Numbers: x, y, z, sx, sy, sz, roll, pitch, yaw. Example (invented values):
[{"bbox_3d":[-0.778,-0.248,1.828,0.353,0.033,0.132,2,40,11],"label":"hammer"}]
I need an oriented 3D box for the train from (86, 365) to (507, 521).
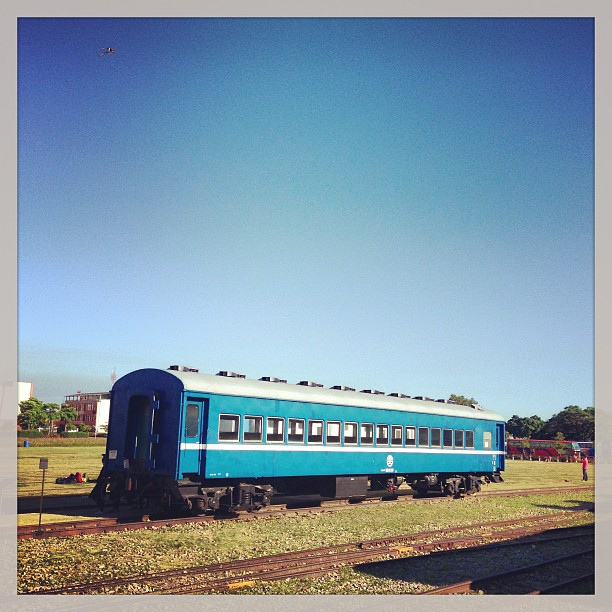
[{"bbox_3d":[1.376,4.251,18.586,14.870,3.692,2.453,12,-14,-40],"label":"train"}]
